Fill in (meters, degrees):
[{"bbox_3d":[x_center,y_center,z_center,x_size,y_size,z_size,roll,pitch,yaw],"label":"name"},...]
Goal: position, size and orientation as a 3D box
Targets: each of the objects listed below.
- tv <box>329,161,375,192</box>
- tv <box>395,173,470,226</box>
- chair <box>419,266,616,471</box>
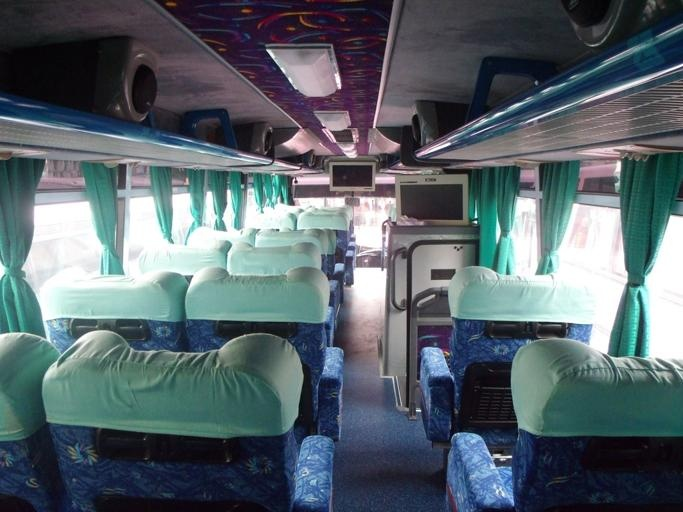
[{"bbox_3d":[0.252,-1.900,11.715,1.096,0.704,0.591,0,8,-1],"label":"tv"},{"bbox_3d":[1.078,-0.617,5.449,0.867,0.560,0.509,3,11,25],"label":"tv"},{"bbox_3d":[0.991,0.652,3.594,1.178,1.521,1.234,2,6,2],"label":"chair"}]
